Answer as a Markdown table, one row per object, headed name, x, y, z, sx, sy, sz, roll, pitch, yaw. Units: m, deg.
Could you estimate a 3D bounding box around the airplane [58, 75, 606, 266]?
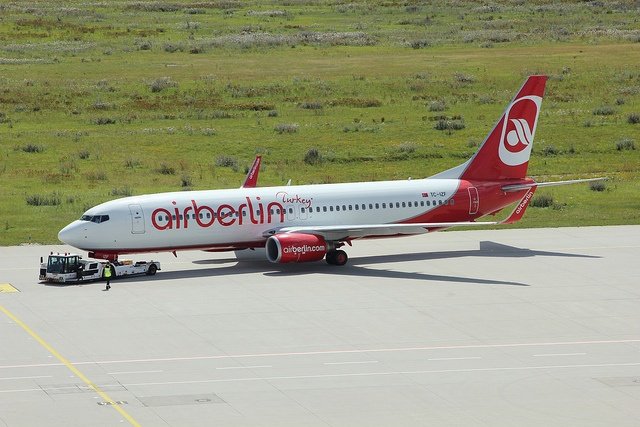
| name | x | y | z | sx | sy | sz | roll | pitch | yaw |
| --- | --- | --- | --- | --- | --- | --- | --- | --- | --- |
| airplane | 0.317 | -2.582 | 84.736 | 34.363 | 12.869 | 4.259 | -4 | 16 | -16 |
